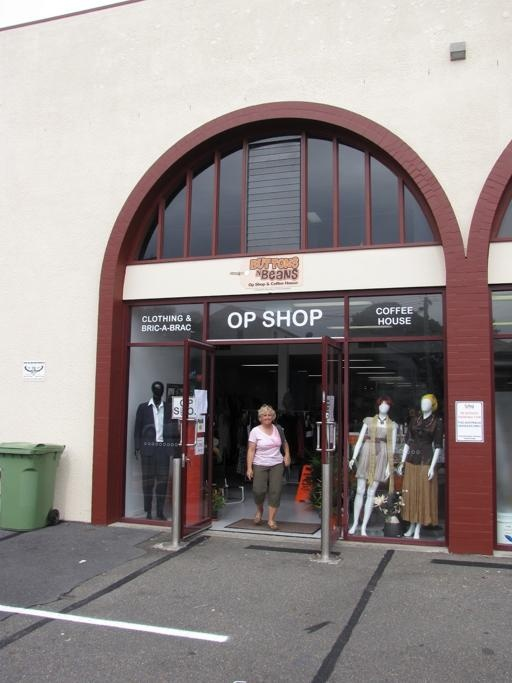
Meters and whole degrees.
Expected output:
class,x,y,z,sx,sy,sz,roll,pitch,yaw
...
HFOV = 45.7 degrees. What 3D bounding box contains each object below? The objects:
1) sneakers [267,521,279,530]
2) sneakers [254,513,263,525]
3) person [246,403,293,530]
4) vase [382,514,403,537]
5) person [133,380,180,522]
class,x,y,z,sx,sy,sz,roll,pitch,yaw
sneakers,0.209,2.343,7.721,0.056,0.077,0.176,2,-18,-13
sneakers,0.030,2.364,8.087,0.115,0.136,0.366,1,-23,-1
person,0.160,1.671,8.297,0.577,1.591,1.211,-1,-6,1
vase,1.559,2.109,6.952,0.212,0.237,0.226,-2,-16,12
person,-1.336,1.426,8.050,0.641,1.799,0.192,-5,-7,34
